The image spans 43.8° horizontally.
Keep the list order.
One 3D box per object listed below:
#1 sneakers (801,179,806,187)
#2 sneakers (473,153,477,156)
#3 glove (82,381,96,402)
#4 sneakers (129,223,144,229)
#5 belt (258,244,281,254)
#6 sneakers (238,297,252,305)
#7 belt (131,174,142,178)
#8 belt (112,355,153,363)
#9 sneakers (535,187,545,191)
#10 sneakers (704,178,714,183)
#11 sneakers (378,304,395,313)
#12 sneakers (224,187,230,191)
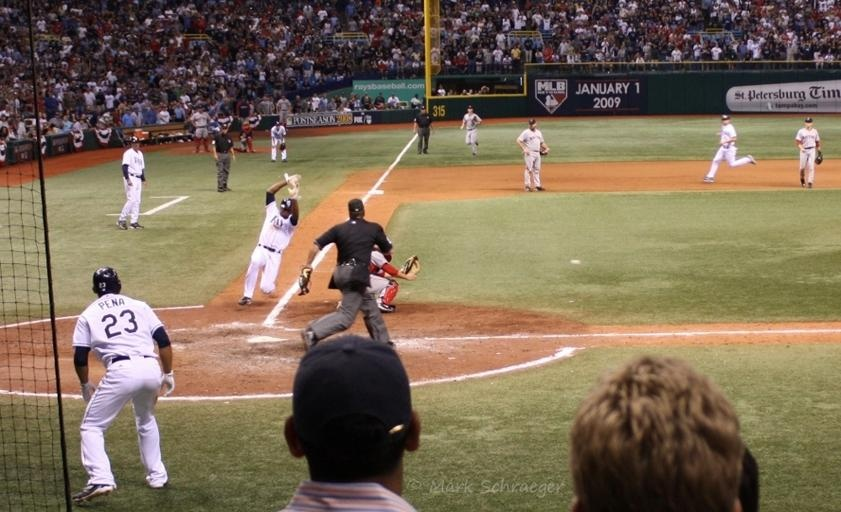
[{"bbox_3d":[13.666,-2.628,37.391,0.157,0.271,0.379,-1,48,15],"label":"sneakers"},{"bbox_3d":[2.508,-4.761,48.685,0.134,0.165,0.192,-4,-3,4],"label":"sneakers"},{"bbox_3d":[-6.235,2.519,19.651,0.355,0.352,0.142,-2,11,13],"label":"glove"},{"bbox_3d":[-8.985,-0.966,32.886,0.451,0.151,0.138,0,10,-6],"label":"sneakers"},{"bbox_3d":[-3.799,-0.191,26.370,0.524,0.191,0.139,-4,10,-17],"label":"belt"},{"bbox_3d":[-4.425,1.105,26.221,0.308,0.211,0.264,-3,9,-9],"label":"sneakers"},{"bbox_3d":[-8.777,-2.485,32.085,0.210,0.084,0.145,-5,10,-37],"label":"belt"},{"bbox_3d":[-5.391,1.880,19.368,0.741,0.116,0.089,-3,10,-12],"label":"belt"},{"bbox_3d":[4.300,-2.454,37.852,0.247,0.128,0.330,5,10,36],"label":"sneakers"},{"bbox_3d":[10.640,-2.812,38.691,0.406,0.136,0.128,4,9,1],"label":"sneakers"},{"bbox_3d":[-0.827,1.249,25.479,0.522,0.182,0.153,12,5,-2],"label":"sneakers"},{"bbox_3d":[-7.269,-2.520,38.998,0.179,0.183,0.509,0,7,-3],"label":"sneakers"}]
